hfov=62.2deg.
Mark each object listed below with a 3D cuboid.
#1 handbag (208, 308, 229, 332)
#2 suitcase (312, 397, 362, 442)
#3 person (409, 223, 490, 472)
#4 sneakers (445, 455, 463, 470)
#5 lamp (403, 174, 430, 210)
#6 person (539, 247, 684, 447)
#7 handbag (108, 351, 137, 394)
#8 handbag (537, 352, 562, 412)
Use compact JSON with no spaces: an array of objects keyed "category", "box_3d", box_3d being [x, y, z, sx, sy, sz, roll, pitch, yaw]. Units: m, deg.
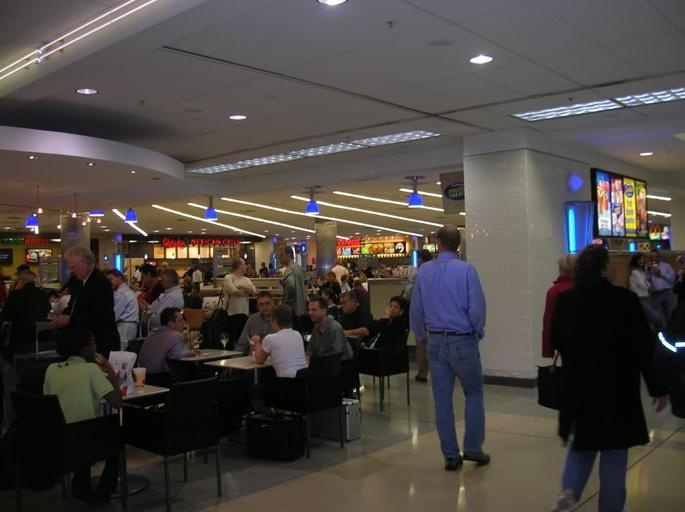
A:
[{"category":"handbag","box_3d":[-1.928,0.988,8.679,0.343,0.374,0.260,3,8,37]},{"category":"suitcase","box_3d":[-0.086,1.815,6.256,0.384,0.485,0.662,1,-2,-43]},{"category":"person","box_3d":[0.945,0.847,5.171,0.647,2.165,0.331,-2,0,9]},{"category":"sneakers","box_3d":[1.010,1.897,5.182,0.080,0.129,0.189,0,2,21]},{"category":"lamp","box_3d":[1.584,-1.294,11.639,0.573,0.964,0.565,-1,1,-7]},{"category":"person","box_3d":[1.678,0.583,3.606,0.659,1.232,0.222,-2,0,18]},{"category":"handbag","box_3d":[-1.870,0.983,4.812,0.206,0.371,0.355,-2,0,-22]},{"category":"handbag","box_3d":[1.630,0.994,4.553,0.209,0.400,0.234,1,5,-4]}]
